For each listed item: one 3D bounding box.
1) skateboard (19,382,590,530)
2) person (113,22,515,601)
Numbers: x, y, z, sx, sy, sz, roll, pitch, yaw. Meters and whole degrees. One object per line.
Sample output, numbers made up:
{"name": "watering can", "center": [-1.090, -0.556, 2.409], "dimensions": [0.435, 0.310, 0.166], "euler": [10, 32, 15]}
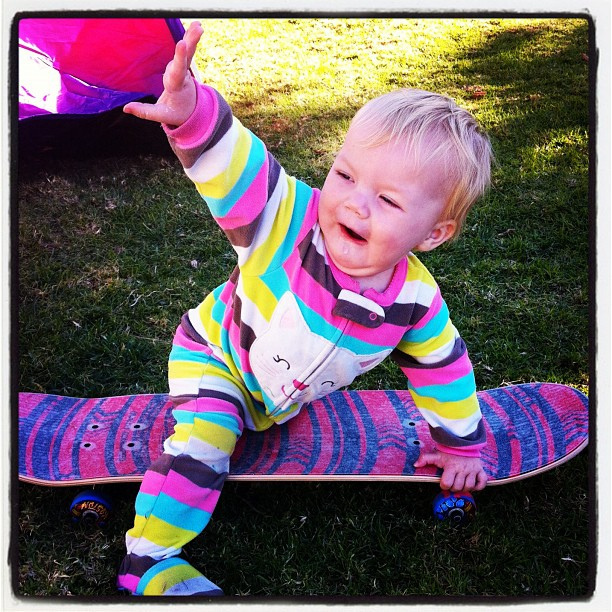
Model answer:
{"name": "skateboard", "center": [-0.017, 0.428, 1.714], "dimensions": [1.483, 0.248, 0.381], "euler": [0, 24, -4]}
{"name": "person", "center": [0.006, 0.022, 1.530], "dimensions": [0.999, 1.289, 0.528], "euler": [-6, 30, -20]}
